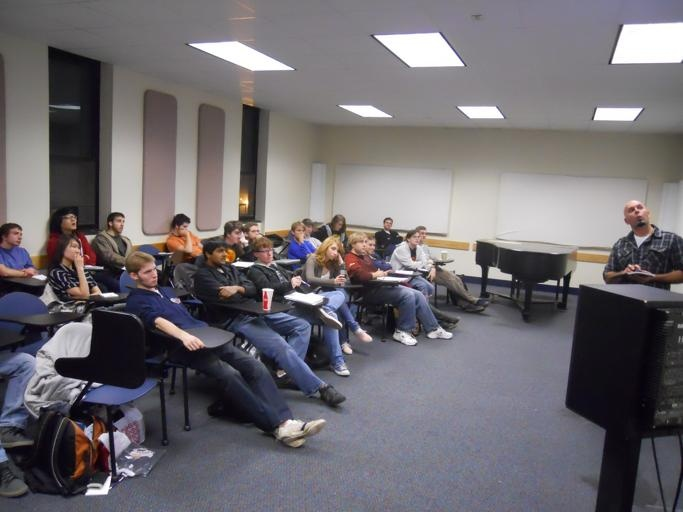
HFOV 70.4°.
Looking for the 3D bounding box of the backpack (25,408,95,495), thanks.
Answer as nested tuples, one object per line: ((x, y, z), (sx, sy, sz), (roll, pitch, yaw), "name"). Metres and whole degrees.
((-1.965, 1.404, 3.569), (0.456, 0.571, 0.507), (7, 7, 36), "backpack")

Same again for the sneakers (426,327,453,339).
((1.406, 1.112, 6.943), (0.324, 0.168, 0.154), (-1, 0, 5), "sneakers")

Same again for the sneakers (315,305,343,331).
((-0.132, 0.683, 5.234), (0.350, 0.166, 0.160), (45, 40, 8), "sneakers")

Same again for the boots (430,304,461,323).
((1.670, 0.909, 7.420), (0.598, 0.292, 0.212), (4, 7, 6), "boots")

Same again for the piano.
((3.349, 0.187, 8.193), (1.325, 1.021, 1.830), (-1, 4, -17), "piano")

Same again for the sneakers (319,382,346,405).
((-0.078, 1.337, 4.666), (0.277, 0.140, 0.144), (0, 4, 44), "sneakers")

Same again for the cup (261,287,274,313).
((-0.681, 0.431, 4.634), (0.160, 0.252, 0.172), (2, -2, 0), "cup")

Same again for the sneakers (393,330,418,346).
((0.858, 1.131, 6.625), (0.350, 0.168, 0.144), (4, 6, 33), "sneakers")

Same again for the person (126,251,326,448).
((-1.041, 0.779, 4.138), (1.571, 1.539, 0.665), (2, 6, -4), "person")

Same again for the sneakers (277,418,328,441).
((-0.336, 1.465, 4.048), (0.278, 0.142, 0.098), (-17, 14, 9), "sneakers")
